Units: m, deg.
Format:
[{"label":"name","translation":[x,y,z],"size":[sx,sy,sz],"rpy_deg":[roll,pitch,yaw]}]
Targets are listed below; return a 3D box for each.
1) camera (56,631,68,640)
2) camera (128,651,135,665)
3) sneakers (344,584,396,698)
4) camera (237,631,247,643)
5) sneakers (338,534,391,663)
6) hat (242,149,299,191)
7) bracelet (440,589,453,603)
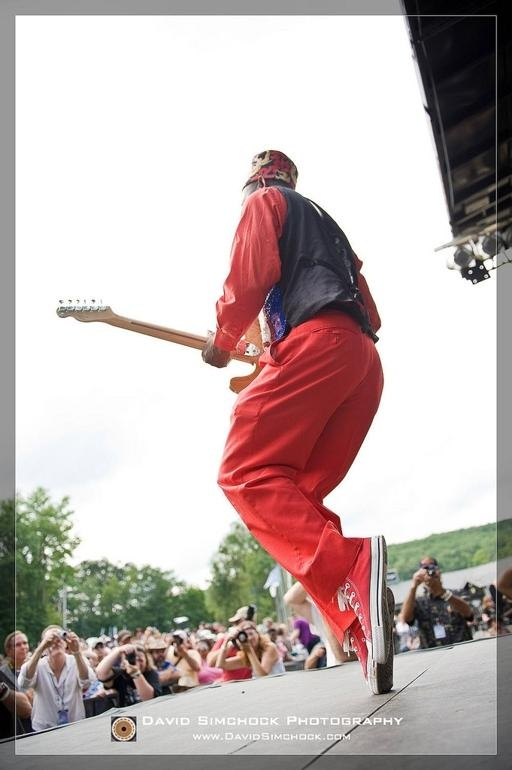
[{"label":"camera","translation":[-0.961,1.235,4.367],"size":[0.058,0.016,0.070],"rpy_deg":[3,-4,-6]},{"label":"camera","translation":[-0.650,1.418,4.595],"size":[0.062,0.049,0.060],"rpy_deg":[1,-4,-13]},{"label":"sneakers","translation":[0.433,0.923,3.156],"size":[0.197,0.381,0.146],"rpy_deg":[-10,2,15]},{"label":"camera","translation":[-0.065,1.204,4.241],"size":[0.013,0.043,0.050],"rpy_deg":[-14,-23,33]},{"label":"sneakers","translation":[0.377,0.764,3.196],"size":[0.217,0.434,0.158],"rpy_deg":[-7,-27,-7]},{"label":"hat","translation":[0.083,-0.972,4.062],"size":[0.247,0.143,0.178],"rpy_deg":[4,-8,10]},{"label":"bracelet","translation":[1.014,1.118,4.706],"size":[0.016,0.054,0.051],"rpy_deg":[33,-30,35]}]
